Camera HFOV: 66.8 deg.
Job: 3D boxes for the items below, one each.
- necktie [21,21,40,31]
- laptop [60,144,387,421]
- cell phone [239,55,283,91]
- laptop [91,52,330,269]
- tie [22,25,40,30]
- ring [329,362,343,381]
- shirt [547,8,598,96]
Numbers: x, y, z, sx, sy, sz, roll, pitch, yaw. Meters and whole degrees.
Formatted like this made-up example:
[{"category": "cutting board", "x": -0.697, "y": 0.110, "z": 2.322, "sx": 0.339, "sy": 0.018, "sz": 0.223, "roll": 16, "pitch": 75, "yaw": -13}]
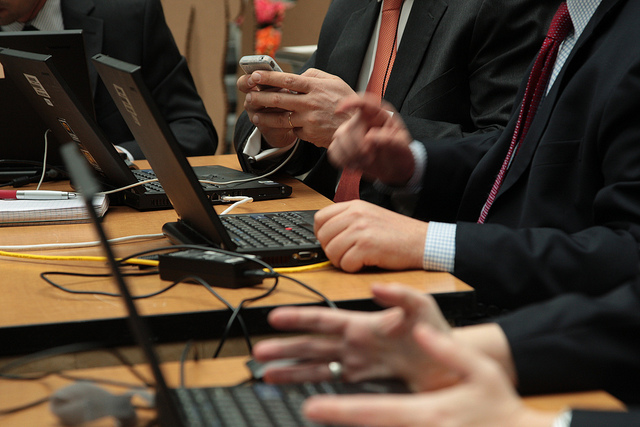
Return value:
[{"category": "necktie", "x": -1.300, "y": -0.844, "z": 2.180, "sx": 0.066, "sy": 0.030, "sz": 0.035, "roll": 4, "pitch": 35, "yaw": 4}, {"category": "laptop", "x": -0.070, "y": 0.097, "z": 0.743, "sx": 0.500, "sy": 0.310, "sz": 0.429, "roll": -3, "pitch": 7, "yaw": -17}, {"category": "cell phone", "x": -0.209, "y": -0.462, "z": 1.581, "sx": 0.136, "sy": 0.128, "sz": 0.030, "roll": 1, "pitch": 53, "yaw": 28}, {"category": "laptop", "x": -0.190, "y": -0.119, "z": 1.269, "sx": 0.638, "sy": 0.462, "sz": 0.529, "roll": -5, "pitch": 10, "yaw": -18}, {"category": "tie", "x": -1.299, "y": -0.836, "z": 2.180, "sx": 0.064, "sy": 0.012, "sz": 0.055, "roll": -2, "pitch": 3, "yaw": -24}, {"category": "ring", "x": 0.025, "y": 0.255, "z": 0.780, "sx": 0.021, "sy": 0.033, "sz": 0.021, "roll": -10, "pitch": 16, "yaw": 3}, {"category": "shirt", "x": 0.685, "y": -0.452, "z": 1.335, "sx": 0.064, "sy": 0.227, "sz": 0.112, "roll": 17, "pitch": 40, "yaw": 19}]
